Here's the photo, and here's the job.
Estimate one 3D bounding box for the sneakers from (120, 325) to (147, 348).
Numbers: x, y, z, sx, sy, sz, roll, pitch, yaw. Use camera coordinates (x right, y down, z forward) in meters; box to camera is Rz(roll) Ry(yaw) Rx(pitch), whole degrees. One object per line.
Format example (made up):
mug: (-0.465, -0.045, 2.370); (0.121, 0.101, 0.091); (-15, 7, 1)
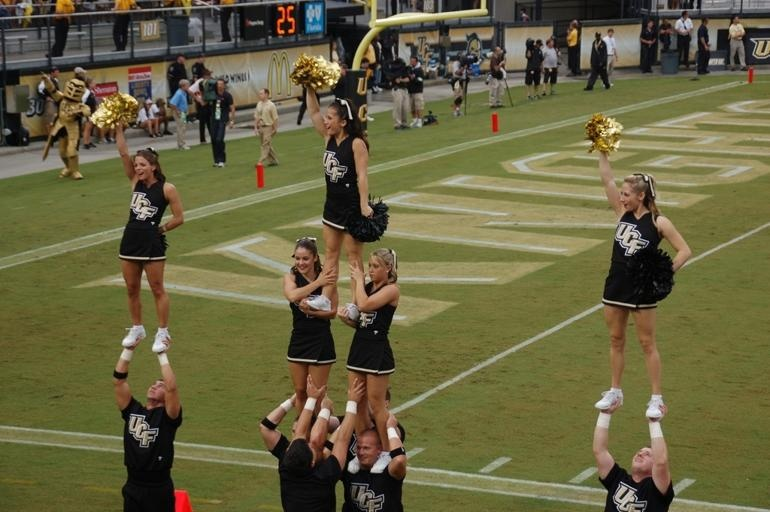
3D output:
sneakers: (-3.663, 1.170, 16.462); (0.297, 0.245, 0.702); (1, 3, 8)

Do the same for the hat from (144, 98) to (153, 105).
hat: (-7.419, -4.924, 35.391); (0.303, 0.255, 0.386); (-2, 2, -13)

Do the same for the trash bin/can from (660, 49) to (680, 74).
trash bin/can: (11.654, -7.963, 45.783); (1.127, 0.877, 0.944); (0, 0, 0)

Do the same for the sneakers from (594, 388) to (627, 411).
sneakers: (3.060, 1.951, 15.231); (0.237, 0.243, 0.671); (-2, -3, 36)

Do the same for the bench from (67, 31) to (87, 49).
bench: (-9.453, -6.709, 34.563); (0.707, 0.494, 0.206); (-9, 11, -38)

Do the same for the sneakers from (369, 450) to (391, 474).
sneakers: (-0.032, 2.617, 14.296); (0.191, 0.279, 0.110); (29, -4, 30)
